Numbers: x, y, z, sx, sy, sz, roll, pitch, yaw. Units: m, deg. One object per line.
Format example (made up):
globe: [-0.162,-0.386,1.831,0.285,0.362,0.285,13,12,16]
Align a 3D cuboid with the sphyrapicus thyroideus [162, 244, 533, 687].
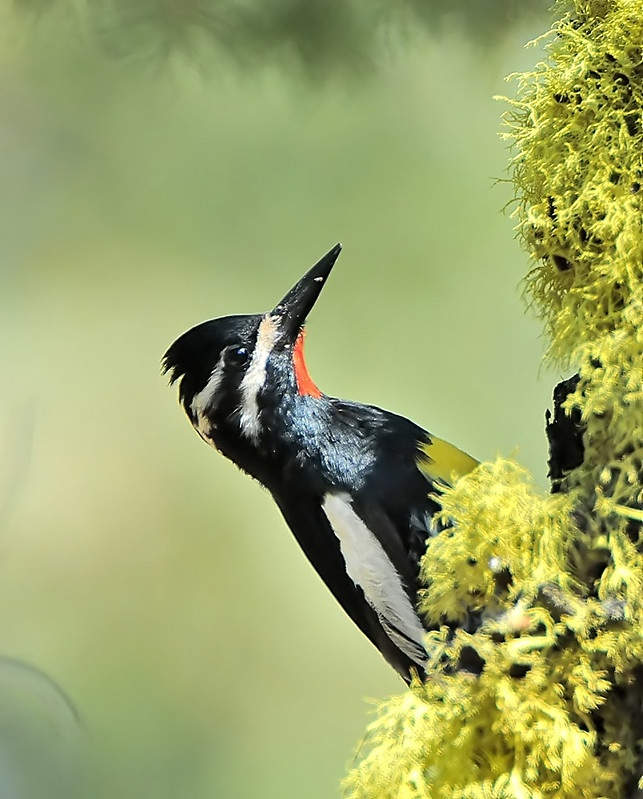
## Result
sphyrapicus thyroideus: [0.001,0.051,1.030,0.319,0.418,0.222,20,-48,-14]
